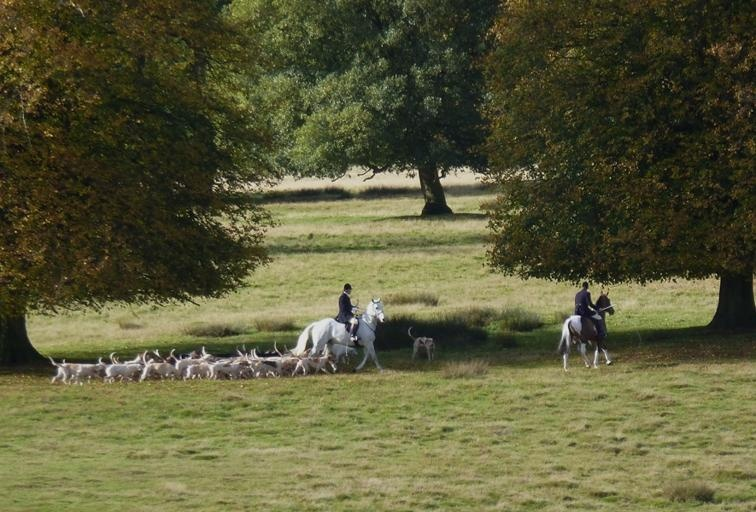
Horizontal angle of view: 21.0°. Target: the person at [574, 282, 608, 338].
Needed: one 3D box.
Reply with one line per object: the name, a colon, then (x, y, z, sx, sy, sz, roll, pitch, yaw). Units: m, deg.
person: (8.064, 2.060, 78.170, 1.030, 2.226, 1.556, 4, 13, 20)
